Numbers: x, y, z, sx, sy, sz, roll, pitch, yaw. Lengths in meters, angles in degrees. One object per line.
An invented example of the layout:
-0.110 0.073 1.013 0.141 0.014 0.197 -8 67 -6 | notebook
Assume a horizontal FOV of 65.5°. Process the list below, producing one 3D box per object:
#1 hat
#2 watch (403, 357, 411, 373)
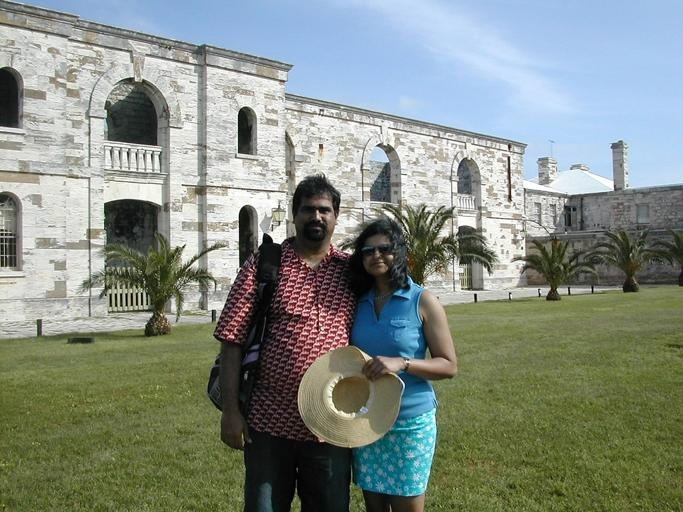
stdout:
0.078 1.008 3.743 0.682 0.183 0.730 17 48 13 | hat
0.463 0.758 3.725 0.048 0.081 0.077 4 6 1 | watch
